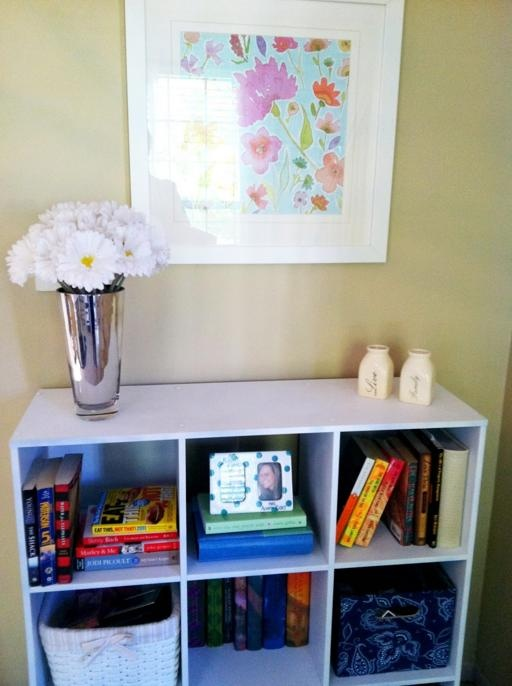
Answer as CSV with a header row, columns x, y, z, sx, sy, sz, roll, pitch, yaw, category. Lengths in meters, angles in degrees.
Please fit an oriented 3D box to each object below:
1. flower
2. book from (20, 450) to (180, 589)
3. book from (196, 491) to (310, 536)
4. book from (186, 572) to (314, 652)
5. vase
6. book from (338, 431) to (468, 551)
x,y,z,sx,sy,sz,roll,pitch,yaw,category
-0.323,-0.186,1.077,0.294,0.178,0.202,0,11,-5,flower
-0.331,0.365,1.260,0.318,0.231,0.254,-2,11,-15,book
-0.005,0.405,1.285,0.236,0.044,0.071,-2,11,-13,book
-0.015,0.678,1.417,0.241,0.205,0.144,-1,10,-4,book
-0.326,0.028,1.131,0.117,0.267,0.079,-3,10,-20,vase
0.355,0.301,1.397,0.228,0.324,0.301,4,4,5,book
